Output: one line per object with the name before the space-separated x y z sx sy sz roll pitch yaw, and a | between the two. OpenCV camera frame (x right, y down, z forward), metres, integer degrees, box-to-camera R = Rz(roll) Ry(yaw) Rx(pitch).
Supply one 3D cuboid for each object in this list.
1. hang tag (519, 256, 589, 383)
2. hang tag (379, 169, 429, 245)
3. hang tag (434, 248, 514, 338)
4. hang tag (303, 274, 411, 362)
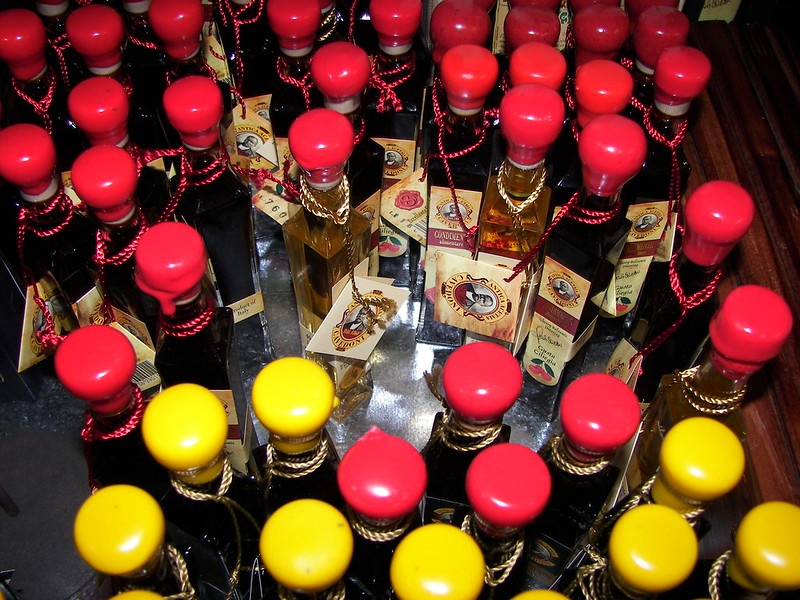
hang tag | 0.198 0.037 0.791 0.079 0.193 0.045 26 55 16
hang tag | 0.004 -0.136 0.837 0.086 0.018 0.085 28 87 -19
hang tag | 0.098 -0.011 0.779 0.118 0.121 0.012 16 47 12
hang tag | -0.046 0.020 0.773 0.118 0.111 0.029 32 17 -32
